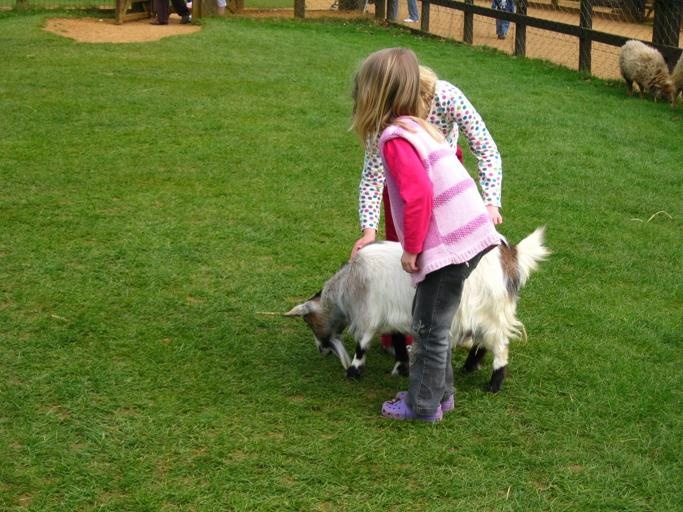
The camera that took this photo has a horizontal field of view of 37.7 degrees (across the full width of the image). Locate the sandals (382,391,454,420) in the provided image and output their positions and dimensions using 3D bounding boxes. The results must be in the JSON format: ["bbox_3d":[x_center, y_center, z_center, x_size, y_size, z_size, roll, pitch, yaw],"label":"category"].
[{"bbox_3d":[0.541,1.007,6.881,0.520,0.238,0.192,5,11,10],"label":"sandals"}]

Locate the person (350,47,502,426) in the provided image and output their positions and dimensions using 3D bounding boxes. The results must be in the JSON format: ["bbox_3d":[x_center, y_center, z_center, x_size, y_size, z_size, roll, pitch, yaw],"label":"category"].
[{"bbox_3d":[0.528,-0.104,6.628,1.002,2.427,0.515,6,14,8],"label":"person"}]

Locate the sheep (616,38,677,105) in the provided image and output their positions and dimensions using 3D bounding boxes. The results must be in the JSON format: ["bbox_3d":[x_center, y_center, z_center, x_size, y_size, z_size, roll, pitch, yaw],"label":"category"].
[{"bbox_3d":[4.201,-2.585,13.651,0.425,0.634,1.157,-17,36,-7],"label":"sheep"}]
